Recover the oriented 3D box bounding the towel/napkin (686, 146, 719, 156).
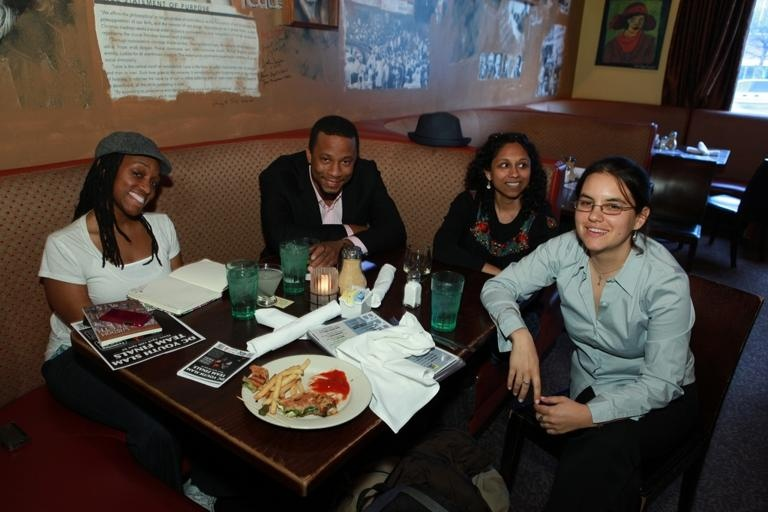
[{"bbox_3d":[3.470,-1.143,5.129,0.271,0.067,0.256,6,14,19],"label":"towel/napkin"}]

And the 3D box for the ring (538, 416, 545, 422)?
[{"bbox_3d":[0.620,0.645,1.851,0.024,0.011,0.033,3,10,29],"label":"ring"}]

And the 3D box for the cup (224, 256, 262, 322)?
[{"bbox_3d":[-0.554,0.118,1.835,0.132,0.201,0.192,-10,27,-18],"label":"cup"}]

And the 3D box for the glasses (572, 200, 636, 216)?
[{"bbox_3d":[0.884,-0.199,1.878,0.218,0.050,0.068,11,28,21],"label":"glasses"}]

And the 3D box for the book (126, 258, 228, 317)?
[{"bbox_3d":[-0.813,0.121,1.934,0.225,0.057,0.246,18,29,20],"label":"book"}]

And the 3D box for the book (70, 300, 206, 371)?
[{"bbox_3d":[-0.910,0.285,1.715,0.436,0.052,0.291,19,32,35],"label":"book"}]

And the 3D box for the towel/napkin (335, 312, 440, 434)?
[{"bbox_3d":[0.004,0.386,1.599,0.359,0.065,0.342,-32,59,-34],"label":"towel/napkin"}]

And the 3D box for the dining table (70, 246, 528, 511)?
[{"bbox_3d":[-0.376,0.466,1.767,0.560,0.508,1.022,24,38,30],"label":"dining table"}]

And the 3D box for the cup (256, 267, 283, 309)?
[{"bbox_3d":[-0.472,0.128,1.939,0.130,0.115,0.134,5,11,-1],"label":"cup"}]

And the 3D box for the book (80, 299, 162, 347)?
[{"bbox_3d":[-0.968,0.238,1.717,0.184,0.045,0.194,-7,29,-33],"label":"book"}]

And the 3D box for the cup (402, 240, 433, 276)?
[{"bbox_3d":[0.164,0.009,2.142,0.135,0.207,0.146,4,-2,0],"label":"cup"}]

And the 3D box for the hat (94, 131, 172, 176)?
[{"bbox_3d":[-1.158,-0.499,2.167,0.331,0.157,0.249,9,1,5],"label":"hat"}]

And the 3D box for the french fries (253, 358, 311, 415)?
[{"bbox_3d":[-0.316,0.398,1.453,0.117,0.046,0.125,40,41,16],"label":"french fries"}]
